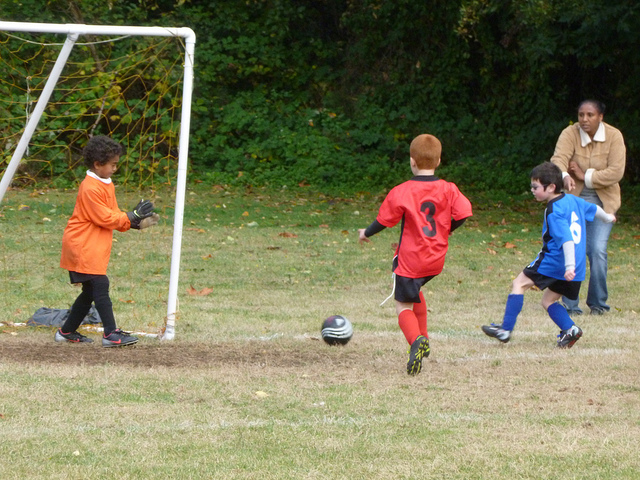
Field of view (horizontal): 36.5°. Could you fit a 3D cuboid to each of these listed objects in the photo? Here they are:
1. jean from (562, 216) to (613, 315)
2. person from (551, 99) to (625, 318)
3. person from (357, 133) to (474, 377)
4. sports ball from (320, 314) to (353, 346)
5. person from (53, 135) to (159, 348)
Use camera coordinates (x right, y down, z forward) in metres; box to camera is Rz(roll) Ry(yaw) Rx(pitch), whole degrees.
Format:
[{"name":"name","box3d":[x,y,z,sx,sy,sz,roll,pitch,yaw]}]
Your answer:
[{"name":"jean","box3d":[3.364,0.281,11.752,0.341,1.168,0.290,5,13,15]},{"name":"person","box3d":[3.117,-0.381,11.875,1.231,2.583,0.928,0,3,-19]},{"name":"person","box3d":[1.003,0.120,9.956,0.819,2.342,0.713,-11,18,-43]},{"name":"sports ball","box3d":[0.174,0.948,10.660,0.308,0.357,0.318,2,28,-1]},{"name":"person","box3d":[-2.370,0.013,10.415,1.004,2.206,0.599,4,13,13]}]
